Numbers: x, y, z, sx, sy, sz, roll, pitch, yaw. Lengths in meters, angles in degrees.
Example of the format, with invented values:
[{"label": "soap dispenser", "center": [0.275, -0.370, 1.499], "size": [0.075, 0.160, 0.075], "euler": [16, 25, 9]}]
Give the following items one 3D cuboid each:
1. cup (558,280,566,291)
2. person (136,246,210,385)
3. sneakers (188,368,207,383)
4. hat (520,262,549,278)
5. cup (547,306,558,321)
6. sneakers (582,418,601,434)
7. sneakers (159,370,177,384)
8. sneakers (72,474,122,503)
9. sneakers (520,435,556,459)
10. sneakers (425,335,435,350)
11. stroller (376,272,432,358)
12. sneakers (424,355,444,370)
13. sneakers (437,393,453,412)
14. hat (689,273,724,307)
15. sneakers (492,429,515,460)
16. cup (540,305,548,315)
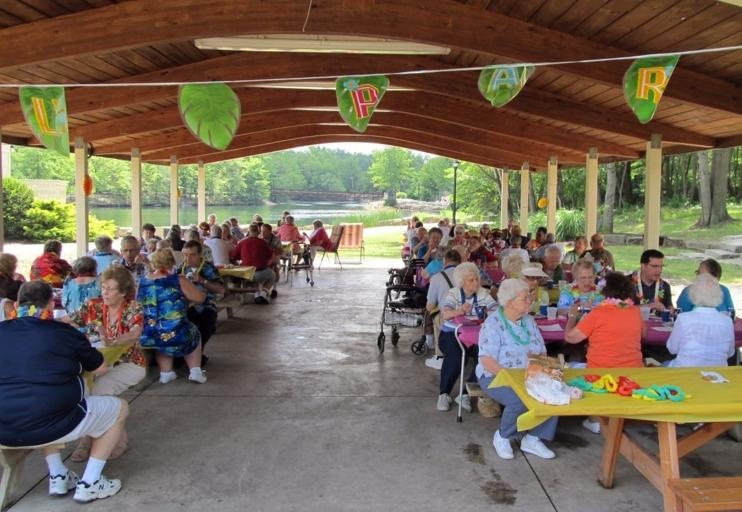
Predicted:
[{"label": "cup", "center": [2.442, 0.387, 7.221], "size": [0.116, 0.149, 0.107], "euler": [2, 7, 0]}, {"label": "person", "center": [-2.212, 0.692, 6.308], "size": [0.690, 1.527, 0.359], "euler": [-2, 13, -16]}, {"label": "sneakers", "center": [-1.960, 1.364, 6.437], "size": [0.114, 0.117, 0.283], "euler": [2, 2, 9]}, {"label": "hat", "center": [1.784, 0.183, 6.220], "size": [0.236, 0.174, 0.452], "euler": [4, 10, 15]}, {"label": "cup", "center": [1.928, 0.620, 6.040], "size": [0.163, 0.154, 0.109], "euler": [5, 0, 6]}, {"label": "sneakers", "center": [2.121, 1.625, 5.374], "size": [0.117, 0.103, 0.289], "euler": [0, 2, -7]}, {"label": "sneakers", "center": [-2.318, 1.399, 6.437], "size": [0.095, 0.088, 0.221], "euler": [0, -10, 11]}, {"label": "sneakers", "center": [-2.116, 1.823, 4.456], "size": [0.151, 0.158, 0.386], "euler": [4, 5, 43]}, {"label": "sneakers", "center": [1.460, 1.715, 5.016], "size": [0.352, 0.204, 0.126], "euler": [3, 11, 20]}, {"label": "sneakers", "center": [0.806, 1.172, 7.728], "size": [0.137, 0.177, 0.196], "euler": [-4, -19, 6]}, {"label": "stroller", "center": [0.463, 0.814, 7.892], "size": [0.979, 1.186, 0.986], "euler": [1, -3, 3]}, {"label": "sneakers", "center": [0.781, 1.346, 7.115], "size": [0.140, 0.130, 0.310], "euler": [1, 5, -18]}, {"label": "sneakers", "center": [0.763, 1.510, 5.812], "size": [0.174, 0.139, 0.174], "euler": [0, 11, -5]}, {"label": "hat", "center": [2.898, 0.300, 4.916], "size": [0.266, 0.295, 0.329], "euler": [-9, -9, 19]}, {"label": "sneakers", "center": [1.165, 1.696, 4.979], "size": [0.123, 0.096, 0.266], "euler": [-3, 3, -7]}, {"label": "cup", "center": [1.857, 0.590, 6.075], "size": [0.105, 0.096, 0.095], "euler": [-3, 8, -13]}]
